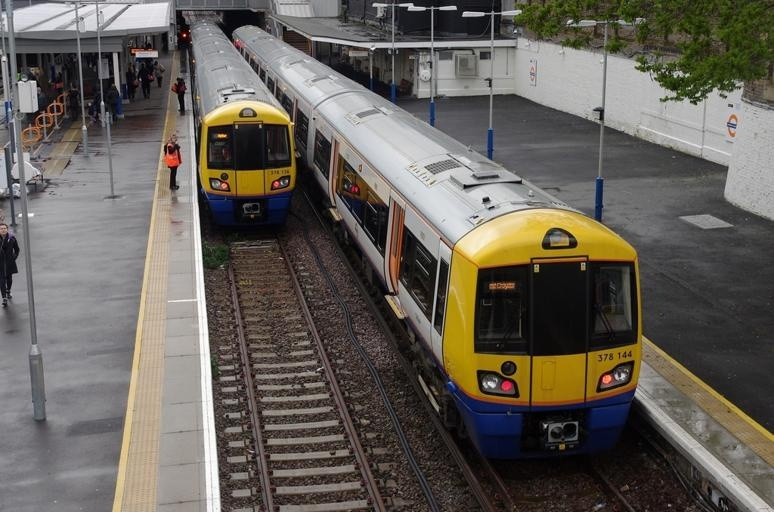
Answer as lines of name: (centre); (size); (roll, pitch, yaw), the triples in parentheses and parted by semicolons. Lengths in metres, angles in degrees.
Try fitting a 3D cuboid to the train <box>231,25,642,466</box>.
train: (-0.110, -2.816, 21.168); (3.399, 3.866, 23.114); (-4, 22, -15)
